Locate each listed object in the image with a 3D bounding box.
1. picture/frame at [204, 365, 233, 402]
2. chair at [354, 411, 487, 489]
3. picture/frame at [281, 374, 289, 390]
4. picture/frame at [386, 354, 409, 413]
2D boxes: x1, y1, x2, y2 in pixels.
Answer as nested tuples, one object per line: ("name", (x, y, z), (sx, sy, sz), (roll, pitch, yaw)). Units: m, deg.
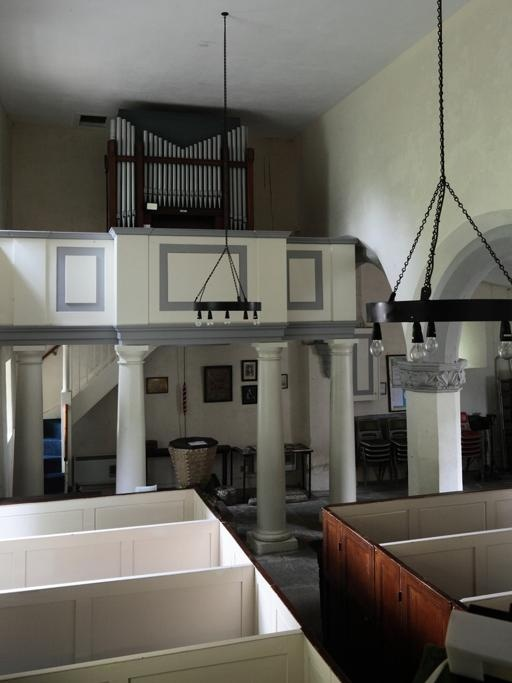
("picture/frame", (-0.626, 0.655, 9.921), (0.432, 0.677, 0.046), (2, -3, -31))
("chair", (2.637, 1.751, 10.416), (2.036, 1.154, 0.776), (-3, -2, -2))
("picture/frame", (0.467, 0.652, 10.332), (0.048, 0.263, 0.125), (-3, -2, 44))
("picture/frame", (2.419, 0.711, 10.802), (0.402, 0.918, 0.033), (5, -10, -42))
